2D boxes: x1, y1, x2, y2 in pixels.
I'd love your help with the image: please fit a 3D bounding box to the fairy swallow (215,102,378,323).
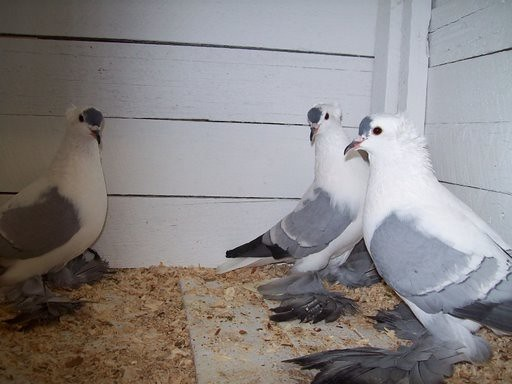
[{"bbox_3d":[0.225,0.067,1.730,0.641,0.741,0.518,0,11,-12],"label":"fairy swallow"}]
